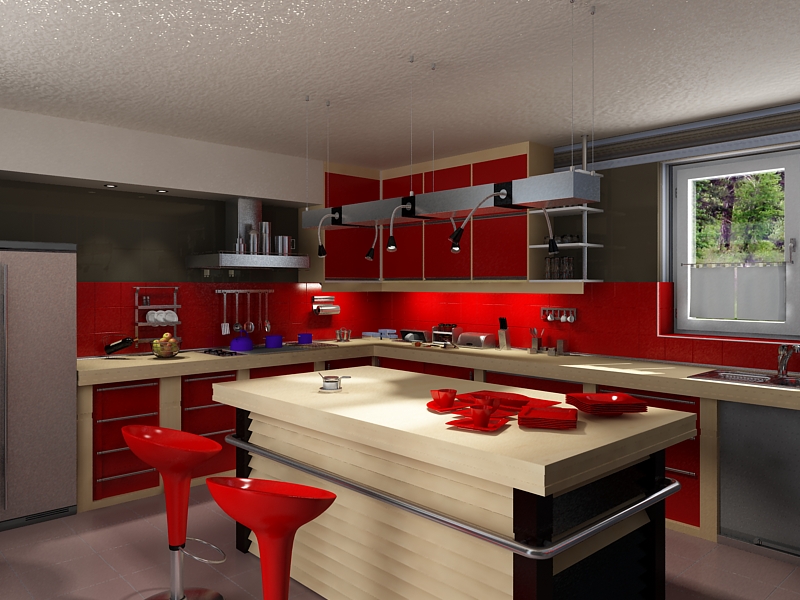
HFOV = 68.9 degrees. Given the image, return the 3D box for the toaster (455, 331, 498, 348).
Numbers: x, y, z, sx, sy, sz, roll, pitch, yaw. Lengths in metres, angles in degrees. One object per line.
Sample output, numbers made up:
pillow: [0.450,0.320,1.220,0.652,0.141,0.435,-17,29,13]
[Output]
toaster: [0.801,0.412,6.124,0.415,0.134,0.262,0,3,9]

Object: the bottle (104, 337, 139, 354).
bottle: [-2.566,0.413,5.354,0.267,0.134,0.259,-1,3,0]

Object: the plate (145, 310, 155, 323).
plate: [-2.396,0.152,5.587,0.072,0.118,0.061,-3,5,-35]

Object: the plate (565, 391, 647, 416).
plate: [1.155,0.580,3.305,0.383,0.084,0.373,-1,3,-7]

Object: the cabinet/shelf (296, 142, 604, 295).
cabinet/shelf: [0.467,-0.679,5.968,1.586,1.253,3.325,9,-4,-40]

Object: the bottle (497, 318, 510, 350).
bottle: [1.079,0.327,6.021,0.104,0.313,0.196,0,4,10]

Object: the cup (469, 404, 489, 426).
cup: [0.401,0.589,2.992,0.093,0.061,0.091,0,2,0]

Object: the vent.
vent: [-1.492,-0.533,5.855,1.190,0.690,0.764,2,-4,-36]

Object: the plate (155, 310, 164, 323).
plate: [-2.292,0.162,5.583,0.099,0.086,0.022,0,1,-38]

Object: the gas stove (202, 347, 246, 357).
gas stove: [-1.730,0.494,5.723,0.372,0.030,0.599,-3,4,-34]

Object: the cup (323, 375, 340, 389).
cup: [-0.443,0.528,3.814,0.090,0.057,0.091,1,4,0]

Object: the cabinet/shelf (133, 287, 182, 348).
cabinet/shelf: [-2.339,0.135,5.645,0.450,0.509,0.152,-1,9,2]
